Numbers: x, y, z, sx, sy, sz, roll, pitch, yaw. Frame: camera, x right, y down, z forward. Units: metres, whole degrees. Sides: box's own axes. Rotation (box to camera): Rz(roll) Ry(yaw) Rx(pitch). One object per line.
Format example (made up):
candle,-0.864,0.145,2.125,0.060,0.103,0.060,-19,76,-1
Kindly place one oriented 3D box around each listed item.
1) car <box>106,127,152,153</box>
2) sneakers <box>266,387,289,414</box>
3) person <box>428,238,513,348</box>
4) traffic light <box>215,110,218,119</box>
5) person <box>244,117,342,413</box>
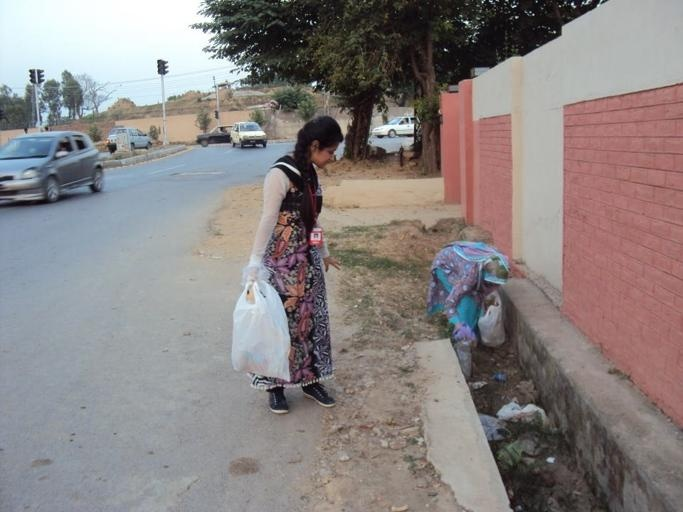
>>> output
car,-14.292,-7.928,33.884,1.610,1.467,2.748,6,20,21
sneakers,-0.457,1.078,3.707,0.083,0.118,0.250,-2,2,-15
person,1.206,0.395,4.803,0.593,0.935,0.736,-7,17,-8
traffic light,-13.239,-14.977,53.227,0.443,0.781,2.025,-8,18,-11
person,-0.314,0.104,3.610,0.785,2.085,0.392,-8,17,-14
